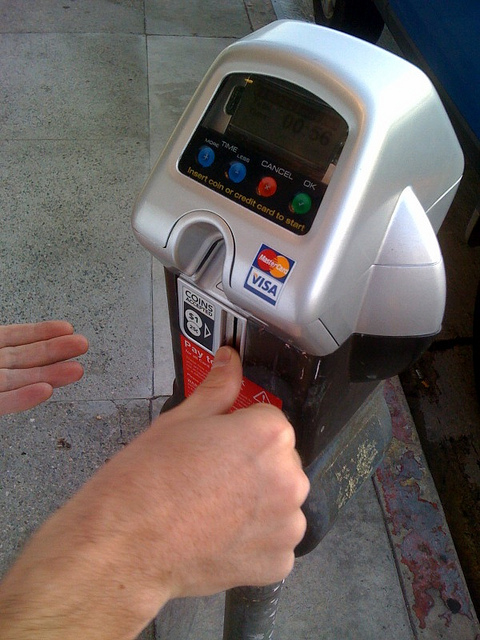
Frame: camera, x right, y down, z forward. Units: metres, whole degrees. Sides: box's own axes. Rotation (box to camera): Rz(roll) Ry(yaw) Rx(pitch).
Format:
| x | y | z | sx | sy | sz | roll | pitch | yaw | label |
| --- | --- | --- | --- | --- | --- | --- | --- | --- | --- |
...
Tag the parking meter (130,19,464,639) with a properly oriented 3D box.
| x | y | z | sx | sy | sz | roll | pitch | yaw | label |
| --- | --- | --- | --- | --- | --- | --- | --- | --- | --- |
| 0.114 | -0.077 | 1.026 | 0.543 | 0.833 | 0.479 | 30 | 58 | 10 | parking meter |
